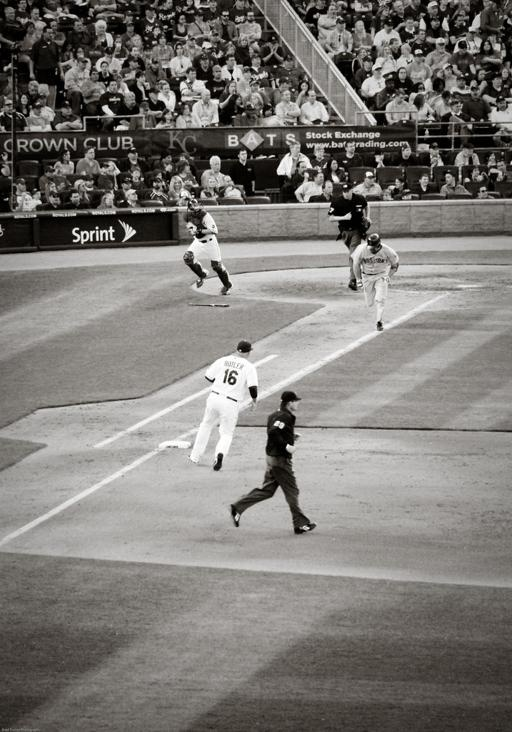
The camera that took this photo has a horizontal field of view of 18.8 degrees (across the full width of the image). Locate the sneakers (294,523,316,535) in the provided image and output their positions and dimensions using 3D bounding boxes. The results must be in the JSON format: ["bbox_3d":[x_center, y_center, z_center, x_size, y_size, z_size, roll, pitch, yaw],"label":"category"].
[{"bbox_3d":[0.574,1.882,17.466,0.289,0.105,0.143,-13,-25,9],"label":"sneakers"}]

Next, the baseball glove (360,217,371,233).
[{"bbox_3d":[2.056,-2.674,28.943,0.191,0.214,0.238,-1,12,4],"label":"baseball glove"}]

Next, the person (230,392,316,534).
[{"bbox_3d":[0.195,1.276,18.983,1.326,1.964,0.706,-7,29,-17],"label":"person"}]

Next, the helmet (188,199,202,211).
[{"bbox_3d":[-1.117,-2.952,27.903,0.234,0.212,0.390,-2,15,-1],"label":"helmet"}]

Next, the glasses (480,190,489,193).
[{"bbox_3d":[5.555,-4.331,37.792,0.112,0.075,0.144,-7,13,-5],"label":"glasses"}]

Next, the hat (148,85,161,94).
[{"bbox_3d":[-2.527,-6.902,38.092,0.254,0.060,0.242,17,37,34],"label":"hat"}]

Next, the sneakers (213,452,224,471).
[{"bbox_3d":[-0.492,1.253,19.421,0.094,0.280,0.119,7,7,-3],"label":"sneakers"}]

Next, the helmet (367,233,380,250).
[{"bbox_3d":[1.981,-2.176,25.974,0.207,0.268,0.268,0,-33,8],"label":"helmet"}]

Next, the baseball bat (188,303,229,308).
[{"bbox_3d":[-0.902,-1.163,29.352,0.670,0.075,0.095,0,-4,-5],"label":"baseball bat"}]

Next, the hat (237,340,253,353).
[{"bbox_3d":[-0.164,-0.234,19.610,0.155,0.151,0.173,6,7,2],"label":"hat"}]

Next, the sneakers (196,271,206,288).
[{"bbox_3d":[-1.049,-1.659,29.524,0.168,0.392,0.137,17,-1,-11],"label":"sneakers"}]

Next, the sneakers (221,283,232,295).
[{"bbox_3d":[-0.592,-1.523,30.252,0.226,0.268,0.641,-3,3,2],"label":"sneakers"}]

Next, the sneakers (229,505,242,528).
[{"bbox_3d":[-0.240,1.746,17.520,0.126,0.292,0.100,-13,15,-2],"label":"sneakers"}]

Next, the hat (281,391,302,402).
[{"bbox_3d":[0.383,0.372,17.258,0.170,0.087,0.120,-7,24,-14],"label":"hat"}]
